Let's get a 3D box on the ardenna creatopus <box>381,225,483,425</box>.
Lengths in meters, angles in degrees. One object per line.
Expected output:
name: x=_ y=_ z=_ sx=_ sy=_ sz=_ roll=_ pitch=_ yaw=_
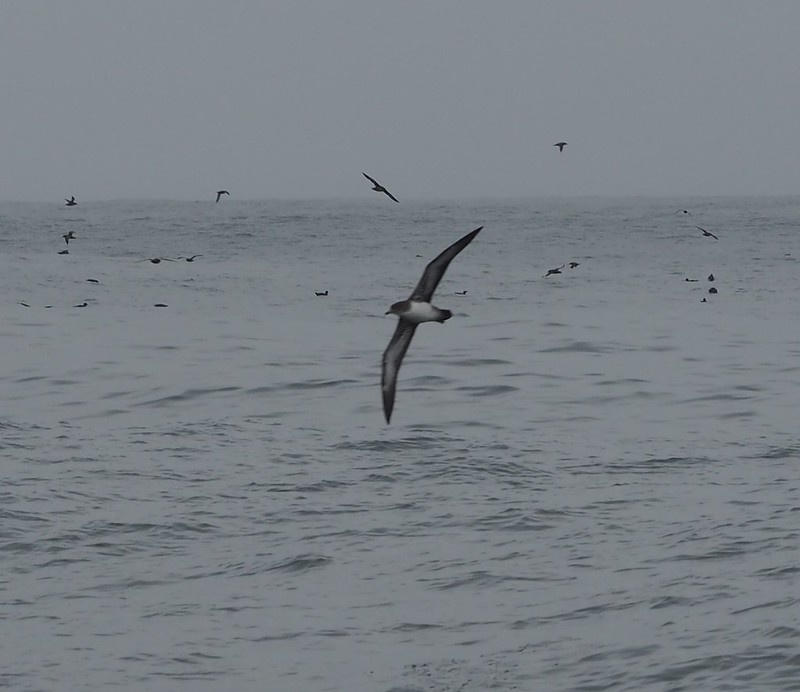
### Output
ardenna creatopus: x=0.333 y=-0.147 z=15.692 sx=1.099 sy=2.756 sz=3.102 roll=-2 pitch=13 yaw=-2
